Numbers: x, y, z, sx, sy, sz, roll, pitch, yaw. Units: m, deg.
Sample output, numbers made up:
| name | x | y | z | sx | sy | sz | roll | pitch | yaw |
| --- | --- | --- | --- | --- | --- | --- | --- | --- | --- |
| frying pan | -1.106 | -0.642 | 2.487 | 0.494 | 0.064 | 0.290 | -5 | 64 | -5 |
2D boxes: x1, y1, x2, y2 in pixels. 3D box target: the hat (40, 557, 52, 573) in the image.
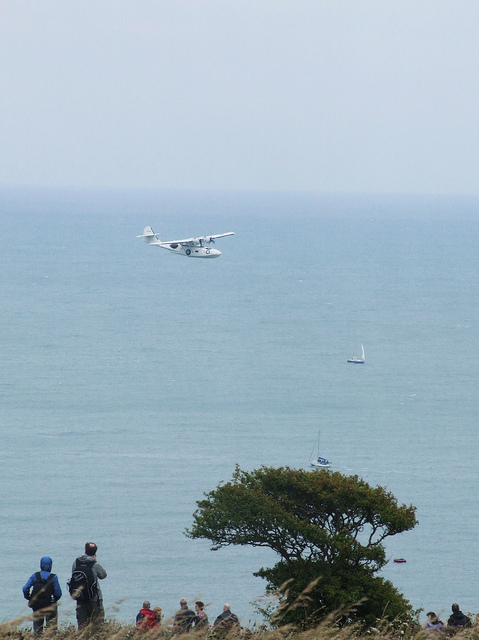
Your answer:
| name | x | y | z | sx | sy | sz | roll | pitch | yaw |
| --- | --- | --- | --- | --- | --- | --- | --- | --- | --- |
| hat | -7.736 | 9.798 | 75.373 | 0.416 | 0.548 | 0.502 | 0 | 0 | -6 |

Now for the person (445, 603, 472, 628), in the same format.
| name | x | y | z | sx | sy | sz | roll | pitch | yaw |
| --- | --- | --- | --- | --- | --- | --- | --- | --- | --- |
| person | 8.839 | 11.960 | 75.734 | 1.036 | 0.700 | 1.250 | -2 | -1 | 6 |

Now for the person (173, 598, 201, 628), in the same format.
| name | x | y | z | sx | sy | sz | roll | pitch | yaw |
| --- | --- | --- | --- | --- | --- | --- | --- | --- | --- |
| person | -2.064 | 11.770 | 74.740 | 0.871 | 0.783 | 1.766 | -2 | -1 | 7 |

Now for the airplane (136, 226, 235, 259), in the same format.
| name | x | y | z | sx | sy | sz | roll | pitch | yaw |
| --- | --- | --- | --- | --- | --- | --- | --- | --- | --- |
| airplane | -3.835 | -5.014 | 121.706 | 4.013 | 2.362 | 19.157 | -2 | -1 | -4 |
